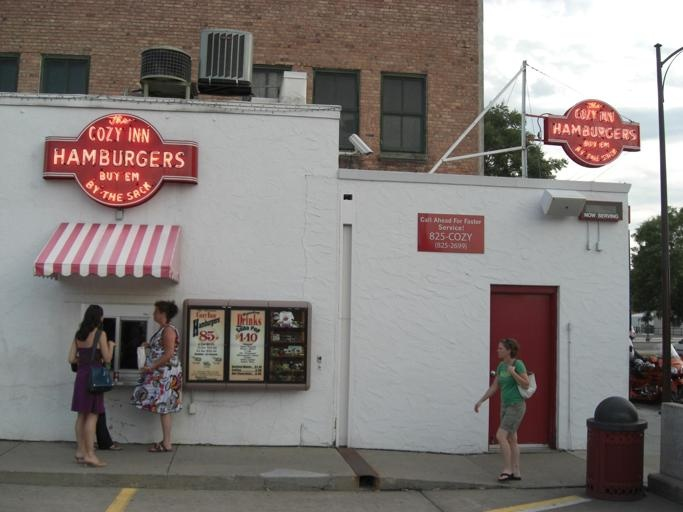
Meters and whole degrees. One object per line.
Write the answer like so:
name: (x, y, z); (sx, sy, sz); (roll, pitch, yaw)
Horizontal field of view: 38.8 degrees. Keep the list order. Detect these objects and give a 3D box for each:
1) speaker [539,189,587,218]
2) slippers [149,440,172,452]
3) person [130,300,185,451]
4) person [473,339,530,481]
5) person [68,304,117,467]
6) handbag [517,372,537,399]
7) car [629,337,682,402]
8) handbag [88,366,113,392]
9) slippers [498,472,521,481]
speaker: (4.180, -0.984, 18.190); (0.652, 0.466, 0.511); (2, -22, -14)
slippers: (-3.157, 3.332, 16.878); (0.339, 0.132, 0.183); (5, -4, -9)
person: (-3.164, 2.102, 16.851); (0.788, 2.654, 0.543); (1, 8, -10)
person: (2.868, 2.617, 16.560); (0.581, 2.369, 0.610); (2, 8, -8)
person: (-4.190, 2.162, 16.166); (0.664, 2.571, 0.884); (0, 8, -18)
handbag: (3.174, 2.215, 16.377); (0.308, 0.411, 0.192); (-3, 10, -37)
car: (7.938, 3.127, 24.419); (0.938, 1.391, 1.621); (-1, 9, -29)
handbag: (-4.026, 2.054, 16.093); (0.368, 0.431, 0.221); (5, -13, -36)
slippers: (2.859, 3.770, 16.456); (0.272, 0.079, 0.157); (4, -9, -9)
